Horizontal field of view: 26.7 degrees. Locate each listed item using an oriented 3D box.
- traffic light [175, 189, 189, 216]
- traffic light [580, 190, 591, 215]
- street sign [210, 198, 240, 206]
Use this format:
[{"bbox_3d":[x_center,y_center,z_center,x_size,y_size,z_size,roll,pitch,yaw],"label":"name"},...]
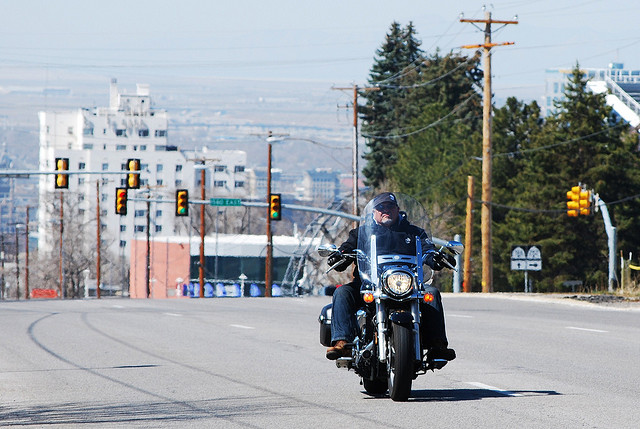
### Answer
[{"bbox_3d":[-8.114,-0.729,79.451,0.682,1.580,1.396,0,-4,-4],"label":"traffic light"},{"bbox_3d":[15.310,-0.717,77.931,0.622,1.344,1.147,-1,-4,12],"label":"traffic light"},{"bbox_3d":[-5.791,-0.766,81.829,1.579,0.542,2.414,1,-5,-7],"label":"street sign"}]
